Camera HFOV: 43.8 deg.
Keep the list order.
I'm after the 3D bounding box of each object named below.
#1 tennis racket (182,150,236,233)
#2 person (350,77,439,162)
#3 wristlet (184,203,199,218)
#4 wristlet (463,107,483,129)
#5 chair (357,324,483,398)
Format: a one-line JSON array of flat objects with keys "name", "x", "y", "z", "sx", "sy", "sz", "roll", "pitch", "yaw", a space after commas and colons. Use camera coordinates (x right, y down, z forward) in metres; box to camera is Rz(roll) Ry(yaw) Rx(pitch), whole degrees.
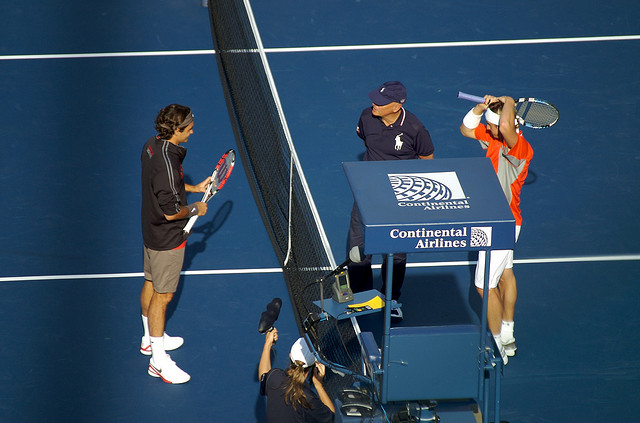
[{"name": "tennis racket", "x": -1.548, "y": -0.423, "z": 11.448, "sx": 0.111, "sy": 1.517, "sz": 0.407, "roll": 17, "pitch": 15, "yaw": -21}, {"name": "person", "x": 1.087, "y": -1.182, "z": 11.545, "sx": 1.285, "sy": 1.318, "sz": 0.706, "roll": 18, "pitch": 29, "yaw": 37}, {"name": "wristlet", "x": -1.744, "y": -0.006, "z": 10.798, "sx": 0.148, "sy": 0.149, "sz": 0.136, "roll": -9, "pitch": -9, "yaw": -34}, {"name": "wristlet", "x": 2.152, "y": -1.327, "z": 11.237, "sx": 0.206, "sy": 0.266, "sz": 0.253, "roll": 27, "pitch": -36, "yaw": 1}, {"name": "chair", "x": 1.177, "y": 1.683, "z": 9.606, "sx": 1.488, "sy": 0.889, "sz": 1.412, "roll": 0, "pitch": 5, "yaw": -16}]
